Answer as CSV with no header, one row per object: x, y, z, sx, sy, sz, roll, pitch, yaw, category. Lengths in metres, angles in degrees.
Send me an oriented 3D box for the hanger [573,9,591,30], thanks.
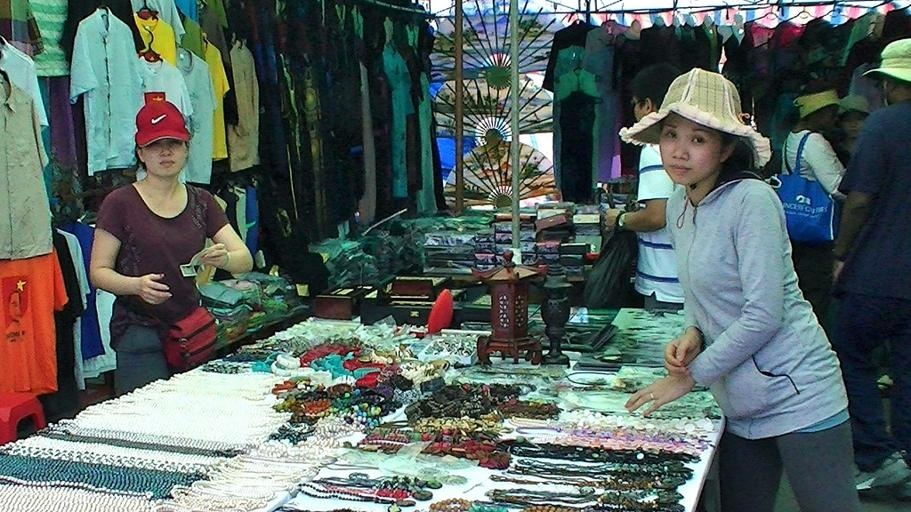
1.339,-2.502,8.002,0.159,0.196,0.228,1,12,7,hanger

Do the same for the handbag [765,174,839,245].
2.834,-0.402,6.055,0.311,0.592,0.643,-20,13,-12,handbag

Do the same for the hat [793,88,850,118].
3.036,-1.271,6.330,0.333,0.155,0.257,-15,-2,43,hat

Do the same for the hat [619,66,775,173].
1.212,-0.814,3.862,0.665,0.324,0.630,7,10,22,hat

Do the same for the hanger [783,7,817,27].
3.401,-2.367,7.517,0.237,0.150,0.222,-19,20,-38,hanger

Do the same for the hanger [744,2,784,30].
3.084,-2.401,7.583,0.351,0.300,0.008,5,4,12,hanger

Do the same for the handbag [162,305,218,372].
-1.597,0.497,4.529,0.431,0.279,0.242,0,11,-40,handbag

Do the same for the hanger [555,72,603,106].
1.278,-1.778,7.964,0.029,0.404,0.667,-14,17,-38,hanger

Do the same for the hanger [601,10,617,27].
1.593,-2.480,7.956,0.161,0.190,0.158,4,56,4,hanger

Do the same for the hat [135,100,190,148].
-1.741,-0.818,4.519,0.344,0.220,0.408,-6,26,-3,hat
